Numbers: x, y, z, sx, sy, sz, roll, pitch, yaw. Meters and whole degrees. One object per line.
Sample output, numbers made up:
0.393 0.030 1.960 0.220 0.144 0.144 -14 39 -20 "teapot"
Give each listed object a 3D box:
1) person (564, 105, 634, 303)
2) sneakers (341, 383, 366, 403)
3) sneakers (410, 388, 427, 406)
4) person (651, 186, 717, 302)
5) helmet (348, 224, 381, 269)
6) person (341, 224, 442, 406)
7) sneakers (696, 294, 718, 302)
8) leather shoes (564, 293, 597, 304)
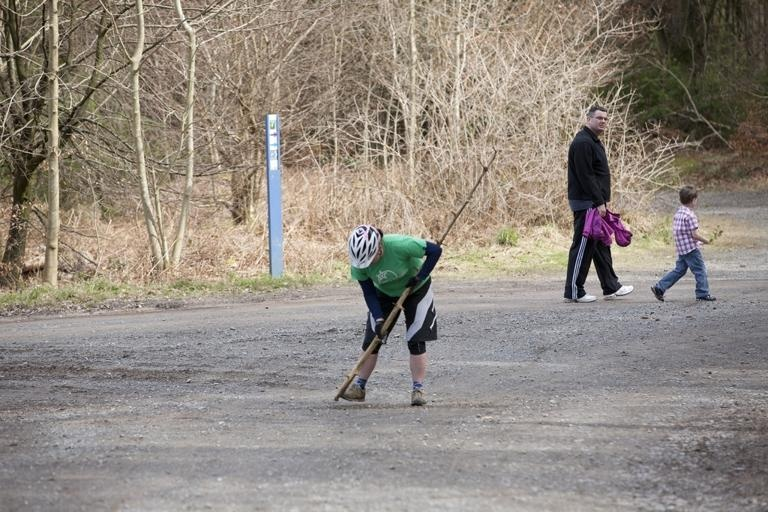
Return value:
3.537 -0.915 19.728 0.883 3.063 0.579 -2 -1 -24 "person"
-0.397 1.904 16.101 0.407 0.199 0.155 7 0 -6 "sneakers"
0.483 1.953 16.027 0.211 0.193 0.502 -1 -6 -3 "sneakers"
5.088 -0.229 19.660 0.940 1.847 1.571 -2 -1 15 "person"
-0.246 -0.162 15.709 0.406 0.570 0.302 6 -15 8 "helmet"
0.234 0.846 15.936 1.148 2.053 0.779 -2 -1 2 "person"
5.389 0.699 19.329 0.279 0.120 0.128 -4 19 -4 "sneakers"
3.359 0.704 19.793 0.485 0.209 0.188 -4 2 4 "leather shoes"
